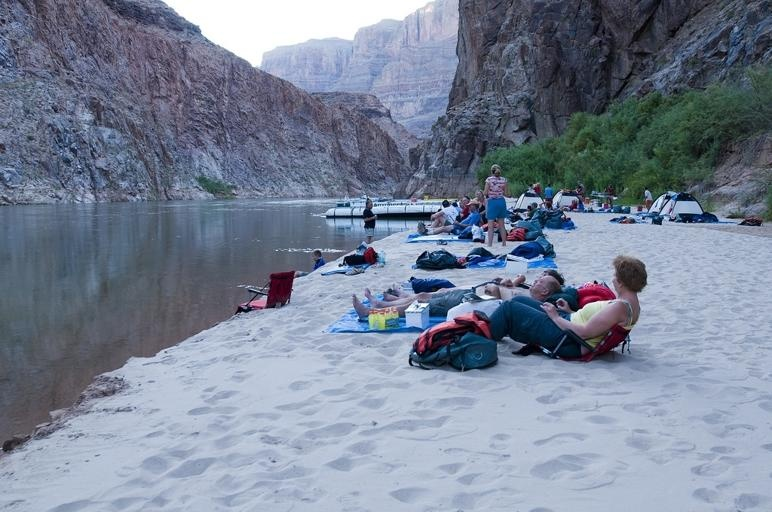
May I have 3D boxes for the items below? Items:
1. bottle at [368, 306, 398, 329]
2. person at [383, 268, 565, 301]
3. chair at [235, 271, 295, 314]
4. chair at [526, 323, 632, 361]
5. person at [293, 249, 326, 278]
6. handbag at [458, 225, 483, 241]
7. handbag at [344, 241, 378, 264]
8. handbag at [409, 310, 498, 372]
[{"bbox_3d":[-0.049,1.118,11.523,0.485,0.291,0.415,-1,-13,-21],"label":"bottle"},{"bbox_3d":[1.242,0.631,11.647,3.833,0.621,1.031,-3,-4,6],"label":"person"},{"bbox_3d":[-2.501,0.846,13.360,1.194,0.832,0.771,-12,0,28],"label":"chair"},{"bbox_3d":[3.115,1.343,10.243,1.288,0.362,0.736,-5,-2,4],"label":"chair"},{"bbox_3d":[-2.257,0.208,17.742,1.082,0.844,0.582,4,-6,2],"label":"person"},{"bbox_3d":[2.662,-0.707,19.820,0.529,0.250,0.646,3,4,27],"label":"handbag"},{"bbox_3d":[-0.639,-0.048,16.479,0.774,0.277,0.510,-4,5,9],"label":"handbag"},{"bbox_3d":[1.074,1.346,10.150,1.294,0.561,0.839,-3,8,-1],"label":"handbag"}]
